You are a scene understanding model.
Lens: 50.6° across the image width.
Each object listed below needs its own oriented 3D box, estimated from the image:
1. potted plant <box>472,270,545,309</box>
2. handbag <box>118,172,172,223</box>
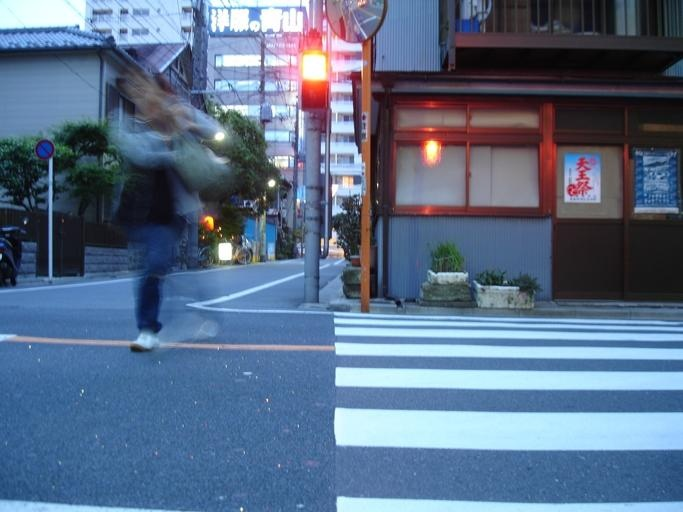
[{"bbox_3d":[2.583,0.574,11.537,0.616,0.519,0.690,2,-4,-5],"label":"potted plant"},{"bbox_3d":[-2.108,-0.617,7.675,0.648,0.587,0.268,6,14,18],"label":"handbag"}]
